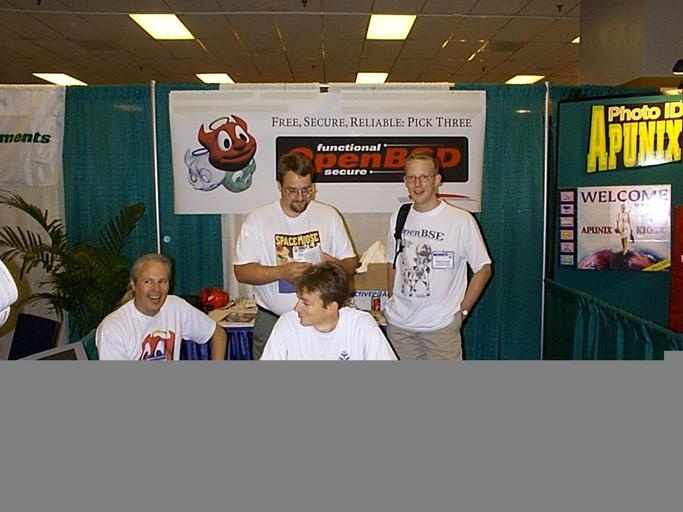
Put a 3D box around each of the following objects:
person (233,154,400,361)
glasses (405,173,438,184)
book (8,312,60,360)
[{"bbox_3d":[-0.239,-0.001,3.152,0.509,1.042,0.492,3,7,26],"label":"person"},{"bbox_3d":[0.432,-0.406,3.252,0.171,0.043,0.110,1,7,1],"label":"glasses"},{"bbox_3d":[-1.876,0.489,3.733,0.266,0.254,0.417,-4,8,-31],"label":"book"}]
